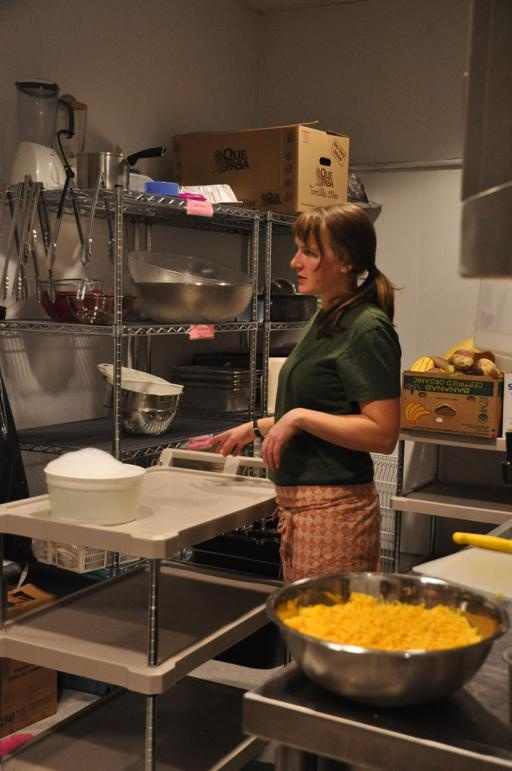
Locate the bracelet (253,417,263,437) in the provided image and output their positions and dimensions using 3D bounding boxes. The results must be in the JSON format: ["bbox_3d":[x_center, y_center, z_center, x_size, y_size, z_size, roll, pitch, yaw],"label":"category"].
[{"bbox_3d":[0.004,0.120,1.860,0.018,0.043,0.047,-4,13,7],"label":"bracelet"}]

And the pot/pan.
[{"bbox_3d":[-0.547,-0.806,2.498,0.389,0.186,0.207,5,10,17],"label":"pot/pan"}]

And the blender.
[{"bbox_3d":[-0.786,-0.912,2.546,0.254,0.369,0.506,2,0,-16],"label":"blender"}]

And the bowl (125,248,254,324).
[{"bbox_3d":[-0.257,-0.353,2.529,0.414,0.196,0.347,5,10,-4],"label":"bowl"}]

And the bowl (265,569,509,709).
[{"bbox_3d":[0.150,0.257,0.737,0.181,0.057,0.173,0,6,0],"label":"bowl"}]

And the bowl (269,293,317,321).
[{"bbox_3d":[0.182,-0.368,3.430,0.154,0.092,0.215,3,7,25],"label":"bowl"}]

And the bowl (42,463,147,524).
[{"bbox_3d":[-0.341,0.229,1.461,0.223,0.087,0.208,9,0,0],"label":"bowl"}]

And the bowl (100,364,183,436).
[{"bbox_3d":[-0.465,0.063,2.719,0.323,0.201,0.311,8,0,0],"label":"bowl"}]
